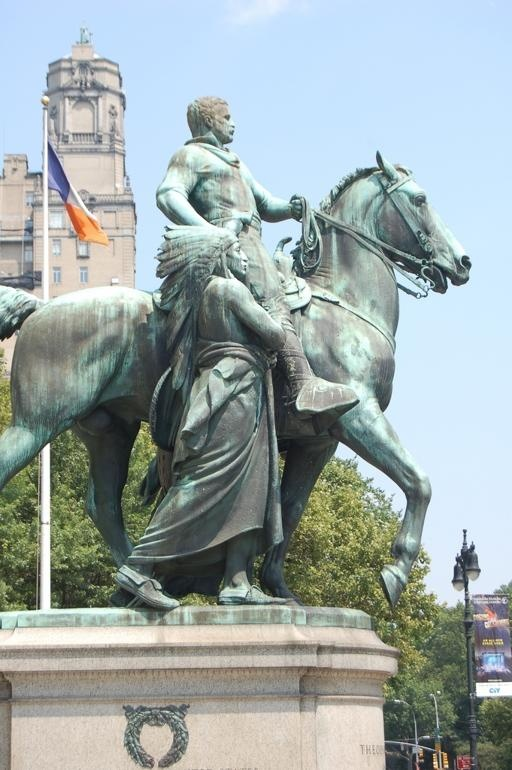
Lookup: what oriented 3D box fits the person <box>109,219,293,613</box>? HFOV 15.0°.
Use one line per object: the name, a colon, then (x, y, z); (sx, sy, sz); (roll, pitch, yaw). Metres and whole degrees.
person: (-0.389, 0.271, 16.632); (1.243, 3.348, 0.763); (0, -7, 0)
